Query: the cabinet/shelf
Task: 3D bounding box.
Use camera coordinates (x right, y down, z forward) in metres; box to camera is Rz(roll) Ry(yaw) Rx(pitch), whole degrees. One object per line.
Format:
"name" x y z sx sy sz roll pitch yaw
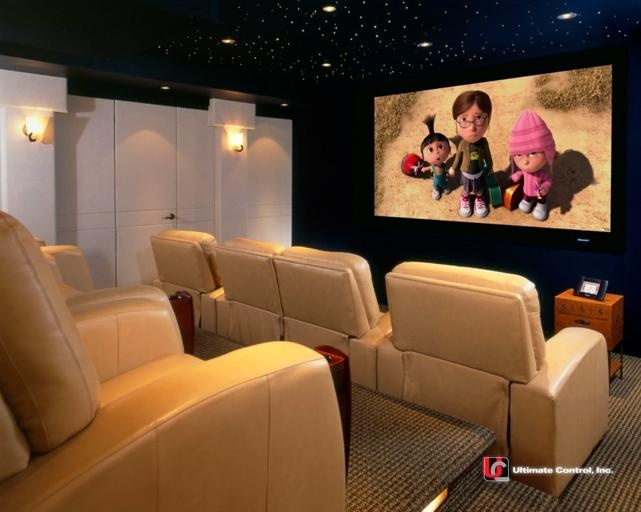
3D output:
"cabinet/shelf" 2.083 0.637 3.656 0.354 0.715 0.377 -16 15 -41
